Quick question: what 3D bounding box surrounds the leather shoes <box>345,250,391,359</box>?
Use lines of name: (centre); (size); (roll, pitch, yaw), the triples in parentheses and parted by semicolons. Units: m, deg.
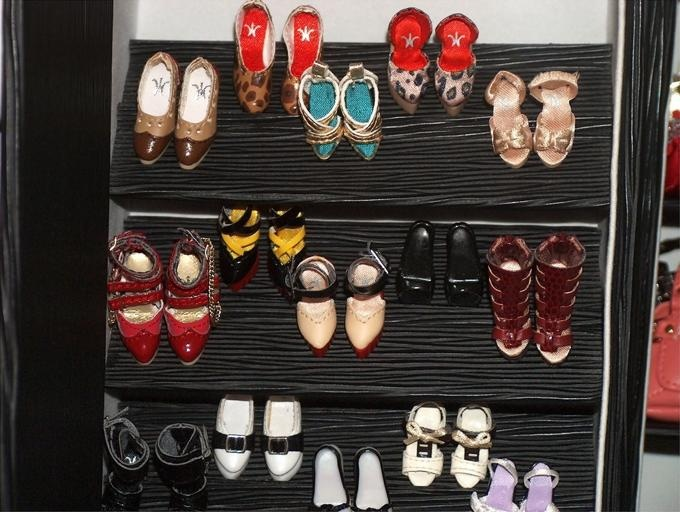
leather shoes: (0.095, 0.193, 2.603); (0.129, 0.419, 0.140); (2, -8, 4)

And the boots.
boots: (-0.678, 0.725, 2.544); (0.284, 0.404, 0.153); (-2, 31, -2)

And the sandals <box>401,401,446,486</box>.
sandals: (0.319, 0.682, 2.595); (0.149, 0.330, 0.100); (9, -34, 10)

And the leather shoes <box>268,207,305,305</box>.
leather shoes: (-0.186, -0.004, 2.628); (0.104, 0.365, 0.133); (-1, 15, 4)

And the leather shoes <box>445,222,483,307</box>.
leather shoes: (0.456, 0.022, 2.586); (0.159, 0.095, 0.426); (1, 45, 7)

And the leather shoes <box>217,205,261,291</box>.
leather shoes: (-0.374, -0.032, 2.581); (0.122, 0.334, 0.125); (1, 12, -2)

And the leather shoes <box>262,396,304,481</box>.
leather shoes: (-0.213, 0.669, 2.631); (0.136, 0.330, 0.108); (1, -34, 0)

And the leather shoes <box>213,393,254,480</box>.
leather shoes: (-0.391, 0.649, 2.544); (0.128, 0.313, 0.103); (0, -7, -4)

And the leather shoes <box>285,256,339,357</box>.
leather shoes: (-0.097, 0.183, 2.603); (0.154, 0.378, 0.113); (1, -4, -1)

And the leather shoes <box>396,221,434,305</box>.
leather shoes: (0.289, 0.021, 2.587); (0.119, 0.283, 0.066); (3, -5, 9)

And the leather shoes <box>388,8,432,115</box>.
leather shoes: (0.252, -0.704, 2.545); (0.149, 0.364, 0.076); (2, 4, 8)

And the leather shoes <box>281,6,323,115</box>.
leather shoes: (-0.138, -0.724, 2.564); (0.145, 0.397, 0.095); (2, 12, 0)

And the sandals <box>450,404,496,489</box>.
sandals: (0.489, 0.694, 2.595); (0.132, 0.107, 0.328); (8, 48, 11)
